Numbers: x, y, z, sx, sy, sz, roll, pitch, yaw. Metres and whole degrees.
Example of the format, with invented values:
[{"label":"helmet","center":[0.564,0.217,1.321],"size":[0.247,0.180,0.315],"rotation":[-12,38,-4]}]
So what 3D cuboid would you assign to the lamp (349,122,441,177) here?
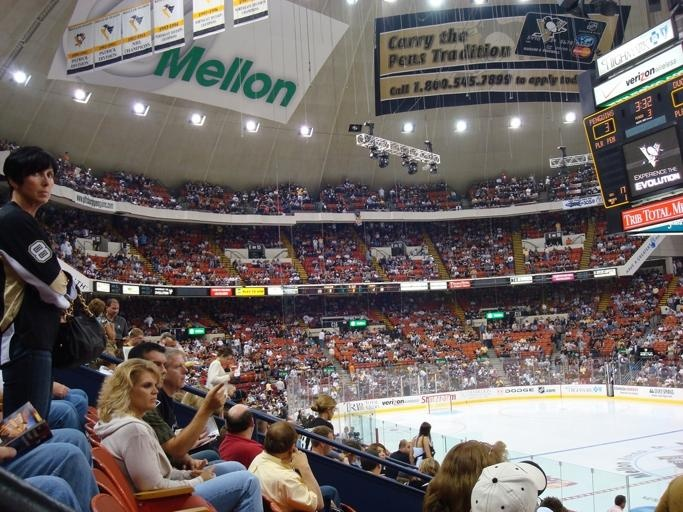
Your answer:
[{"label":"lamp","center":[3.069,-5.614,32.815],"size":[4.746,1.951,0.694],"rotation":[10,-12,-22]}]
